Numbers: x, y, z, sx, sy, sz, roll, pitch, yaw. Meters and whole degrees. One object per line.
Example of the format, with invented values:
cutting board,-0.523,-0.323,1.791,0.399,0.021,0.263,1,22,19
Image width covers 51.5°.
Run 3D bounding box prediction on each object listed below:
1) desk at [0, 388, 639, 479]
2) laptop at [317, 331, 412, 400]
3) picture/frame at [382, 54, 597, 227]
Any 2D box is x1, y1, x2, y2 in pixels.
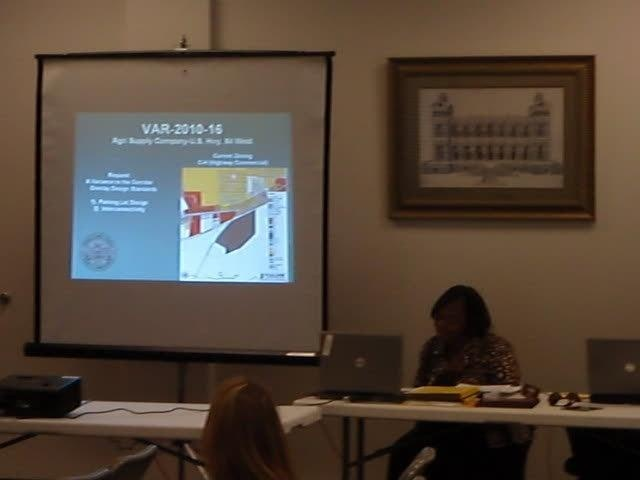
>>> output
desk,-0.040,1.015,3.345,3.129,0.420,0.471,1,1,2
laptop,0.222,0.653,3.472,0.512,0.317,0.335,1,-1,10
picture/frame,1.149,-0.640,4.164,1.247,0.907,0.096,0,1,5
